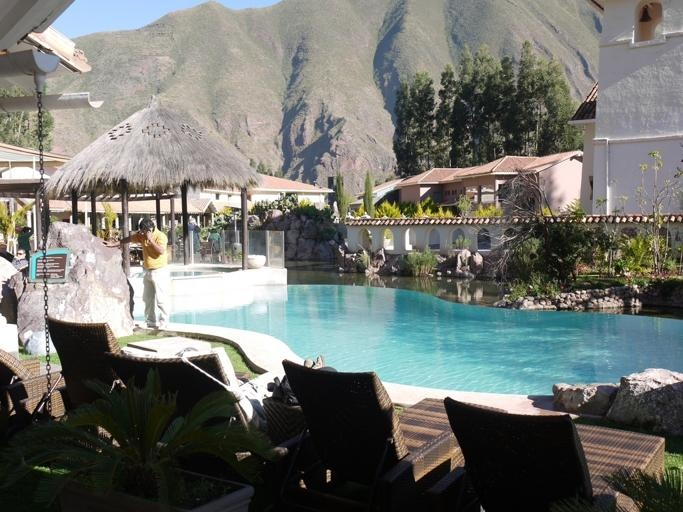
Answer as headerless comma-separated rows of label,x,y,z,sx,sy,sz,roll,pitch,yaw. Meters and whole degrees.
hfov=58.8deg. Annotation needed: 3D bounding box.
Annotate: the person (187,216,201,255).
person,-5.182,-0.619,21.068,0.356,1.282,0.579,-1,0,-13
